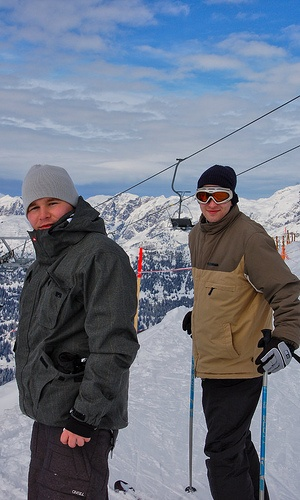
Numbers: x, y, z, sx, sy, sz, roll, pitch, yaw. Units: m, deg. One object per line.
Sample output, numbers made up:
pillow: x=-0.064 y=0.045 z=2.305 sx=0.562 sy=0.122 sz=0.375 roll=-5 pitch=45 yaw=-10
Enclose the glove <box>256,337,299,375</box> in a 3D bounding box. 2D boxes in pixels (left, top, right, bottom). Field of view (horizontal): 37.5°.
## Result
glove: x=0.568 y=0.488 z=2.047 sx=0.196 sy=0.145 sz=0.052 roll=-22 pitch=6 yaw=-21
